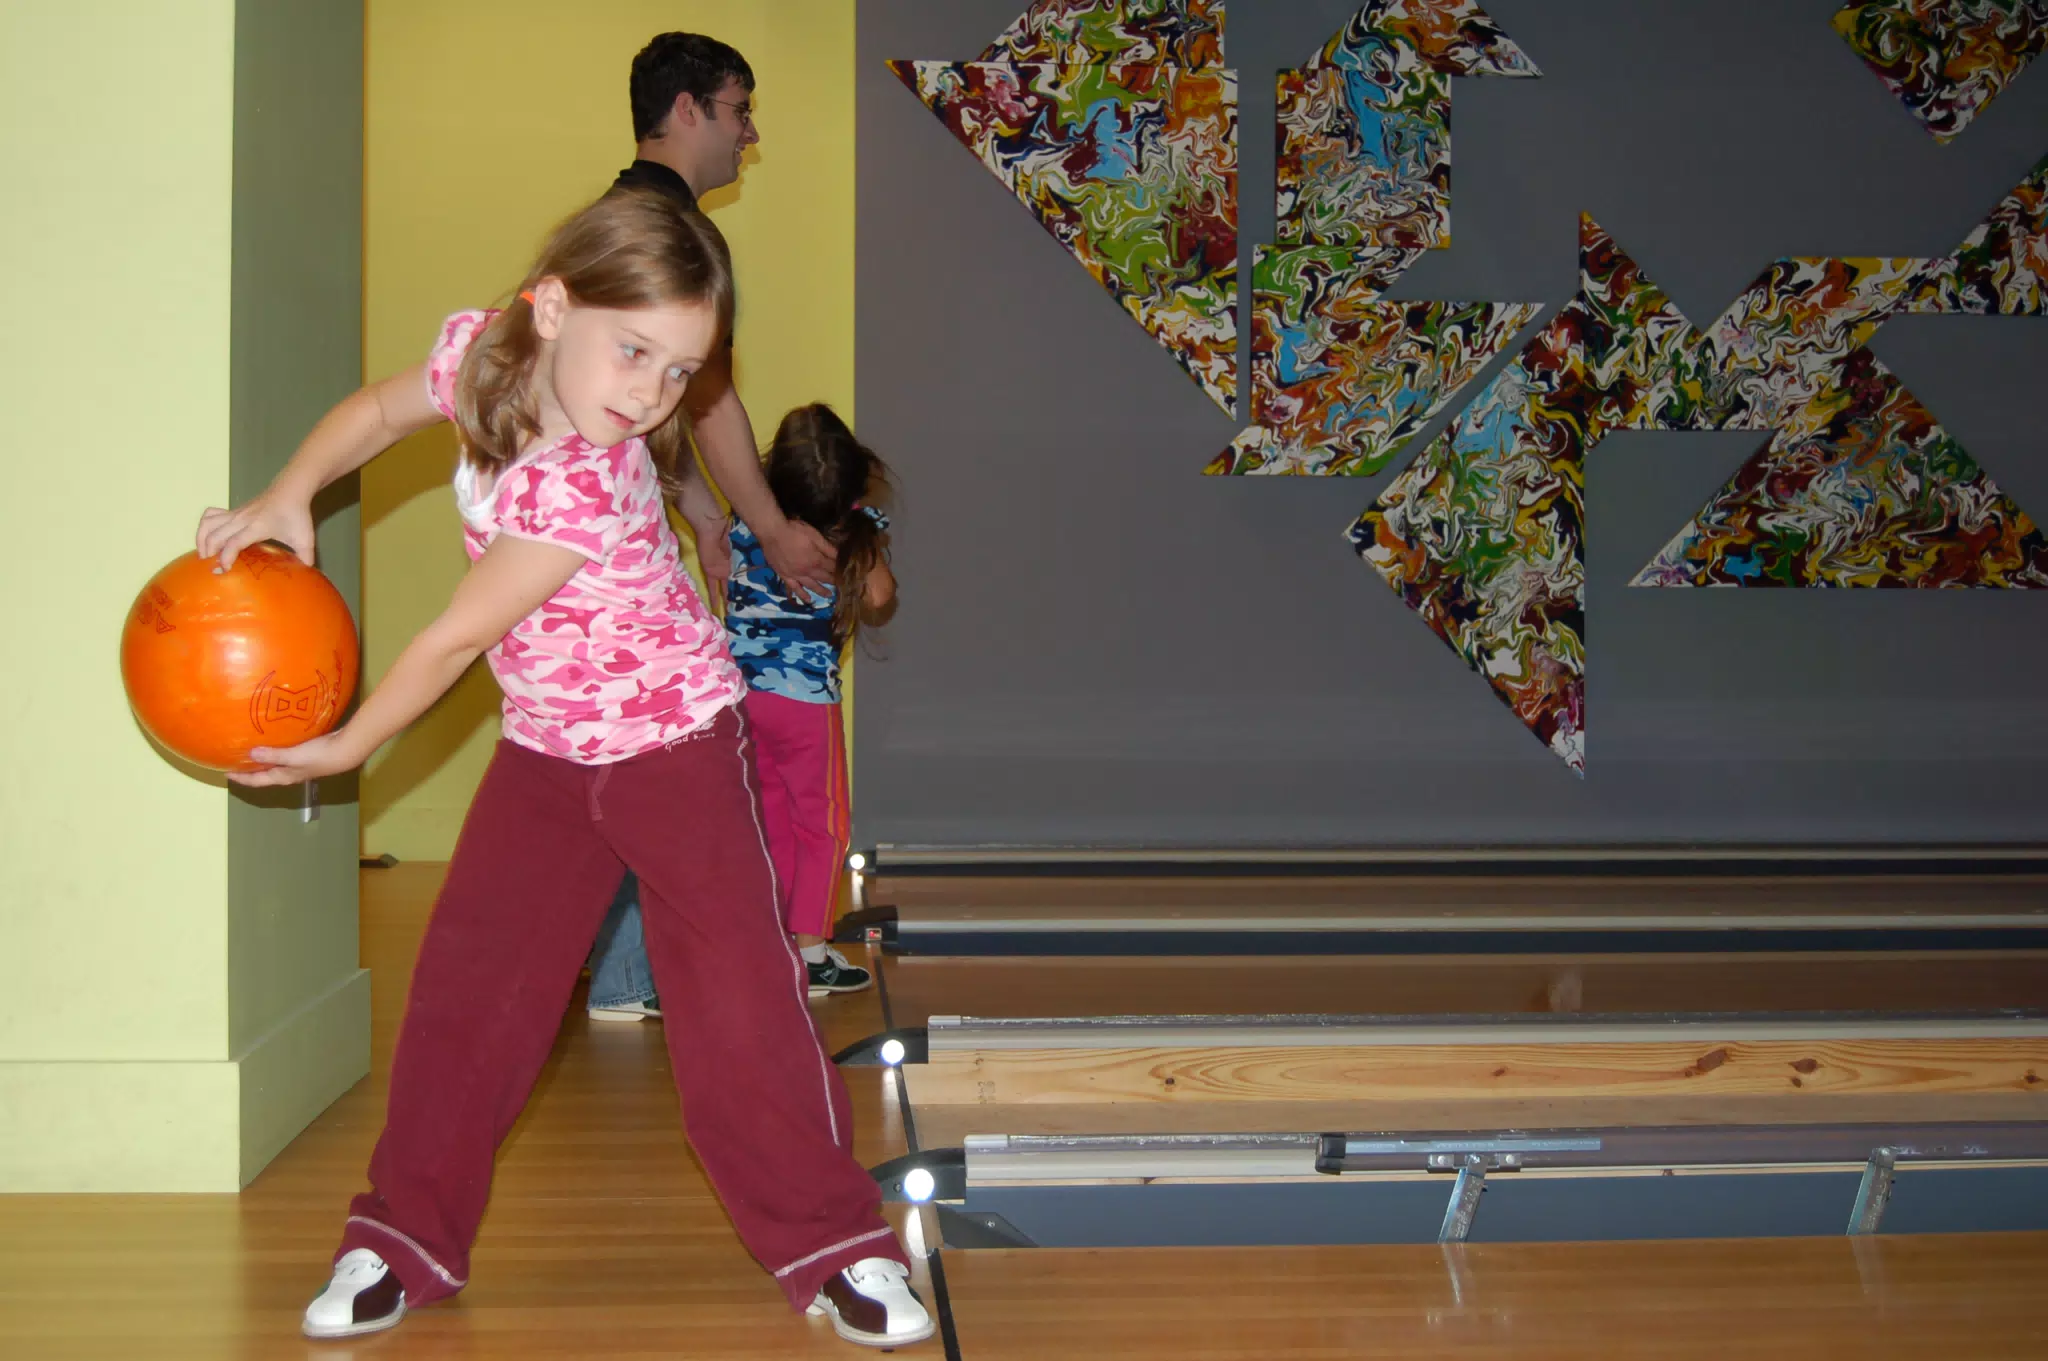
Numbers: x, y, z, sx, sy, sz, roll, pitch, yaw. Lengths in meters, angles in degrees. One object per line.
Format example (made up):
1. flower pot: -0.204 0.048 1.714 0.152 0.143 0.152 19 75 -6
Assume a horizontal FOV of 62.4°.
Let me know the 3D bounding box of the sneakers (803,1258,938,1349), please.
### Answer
1. sneakers: -0.220 0.920 2.479 0.105 0.077 0.189 2 -3 -33

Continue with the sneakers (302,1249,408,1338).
1. sneakers: -0.988 0.907 2.490 0.085 0.082 0.173 -1 -11 5

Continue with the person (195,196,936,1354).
1. person: -0.629 0.132 2.476 0.936 1.656 0.320 2 11 0

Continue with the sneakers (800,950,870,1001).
1. sneakers: -0.436 0.664 3.839 0.088 0.101 0.240 0 -1 28
